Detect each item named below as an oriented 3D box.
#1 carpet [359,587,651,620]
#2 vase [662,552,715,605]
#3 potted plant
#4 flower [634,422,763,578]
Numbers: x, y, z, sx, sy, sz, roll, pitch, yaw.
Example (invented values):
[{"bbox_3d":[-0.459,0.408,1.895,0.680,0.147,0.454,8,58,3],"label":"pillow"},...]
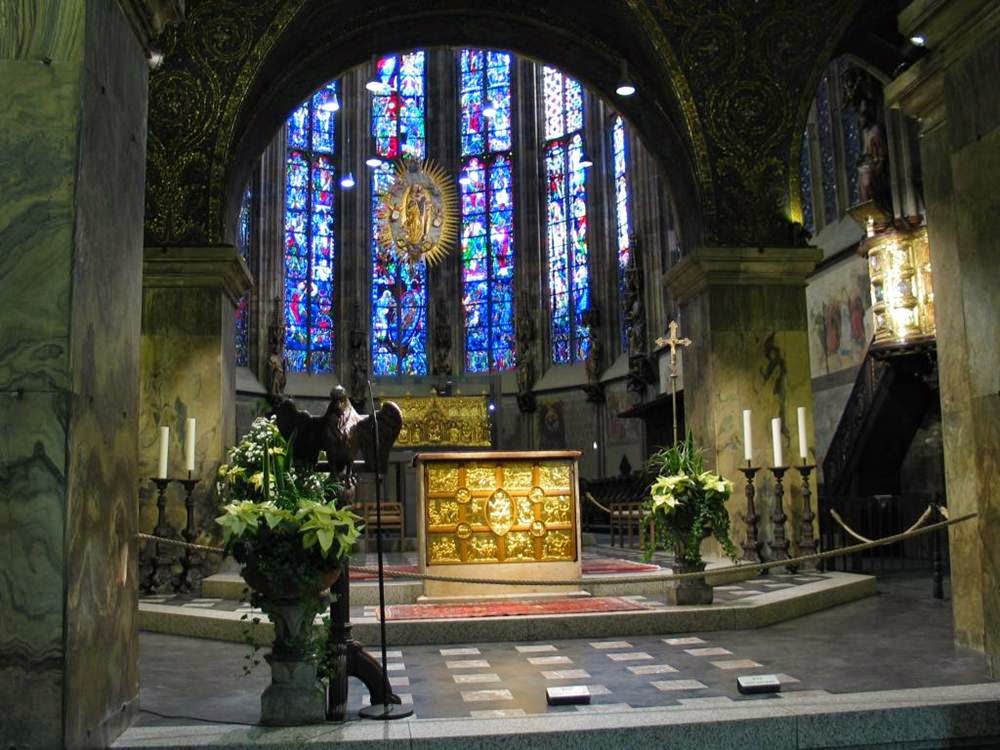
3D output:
[{"bbox_3d":[0.167,2.129,9.600,2.399,0.111,1.444,-1,-8,-6],"label":"carpet"},{"bbox_3d":[1.781,1.927,9.649,0.488,0.450,0.544,6,-11,-15],"label":"vase"},{"bbox_3d":[-1.176,1.290,6.173,0.997,1.171,0.593,5,-10,-41],"label":"potted plant"},{"bbox_3d":[1.758,1.171,9.670,0.765,1.206,0.420,-3,-7,8],"label":"flower"}]
